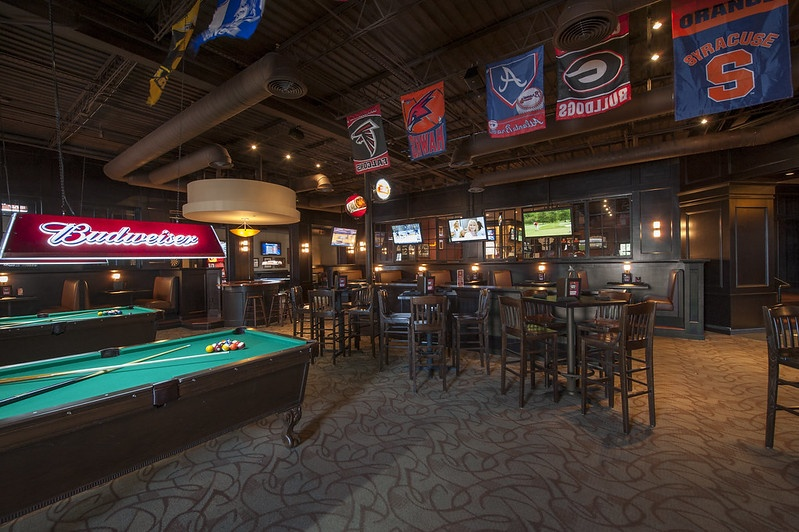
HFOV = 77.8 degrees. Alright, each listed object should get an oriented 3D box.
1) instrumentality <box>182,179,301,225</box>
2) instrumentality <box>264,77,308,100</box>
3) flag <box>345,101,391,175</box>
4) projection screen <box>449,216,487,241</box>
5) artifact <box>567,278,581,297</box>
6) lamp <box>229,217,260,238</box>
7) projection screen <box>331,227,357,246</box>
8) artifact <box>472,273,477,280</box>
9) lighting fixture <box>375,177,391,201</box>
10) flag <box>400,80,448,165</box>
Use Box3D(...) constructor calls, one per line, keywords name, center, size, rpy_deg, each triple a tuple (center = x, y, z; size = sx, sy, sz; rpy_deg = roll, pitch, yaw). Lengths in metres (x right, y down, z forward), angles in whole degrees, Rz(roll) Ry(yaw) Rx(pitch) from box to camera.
Box3D(name="instrumentality", center=(-2.302, -0.945, 7.168), size=(1.547, 0.515, 0.844), rpy_deg=(-1, -2, -15))
Box3D(name="instrumentality", center=(-1.741, -2.656, 7.381), size=(0.515, 0.162, 0.512), rpy_deg=(0, -2, -39))
Box3D(name="flag", center=(-0.552, -2.276, 8.750), size=(0.803, 1.121, 0.239), rpy_deg=(-3, -2, 31))
Box3D(name="projection screen", center=(1.865, -1.031, 13.701), size=(0.351, 0.610, 1.156), rpy_deg=(0, -2, -39))
Box3D(name="artifact", center=(2.607, 0.319, 7.370), size=(0.212, 0.292, 0.078), rpy_deg=(-1, -2, -5))
Box3D(name="lamp", center=(-3.264, -0.802, 10.289), size=(0.616, 0.331, 0.552), rpy_deg=(3, -1, 4))
Box3D(name="projection screen", center=(-1.822, -0.981, 16.146), size=(0.276, 0.546, 1.016), rpy_deg=(-3, -2, 28))
Box3D(name="artifact", center=(2.089, 0.297, 13.799), size=(0.095, 0.153, 0.179), rpy_deg=(27, -22, -35))
Box3D(name="lighting fixture", center=(-0.425, -1.885, 11.899), size=(0.307, 0.492, 0.565), rpy_deg=(-3, -2, 31))
Box3D(name="flag", center=(0.417, -2.480, 8.421), size=(0.780, 1.222, 0.194), rpy_deg=(-2, -2, 24))
